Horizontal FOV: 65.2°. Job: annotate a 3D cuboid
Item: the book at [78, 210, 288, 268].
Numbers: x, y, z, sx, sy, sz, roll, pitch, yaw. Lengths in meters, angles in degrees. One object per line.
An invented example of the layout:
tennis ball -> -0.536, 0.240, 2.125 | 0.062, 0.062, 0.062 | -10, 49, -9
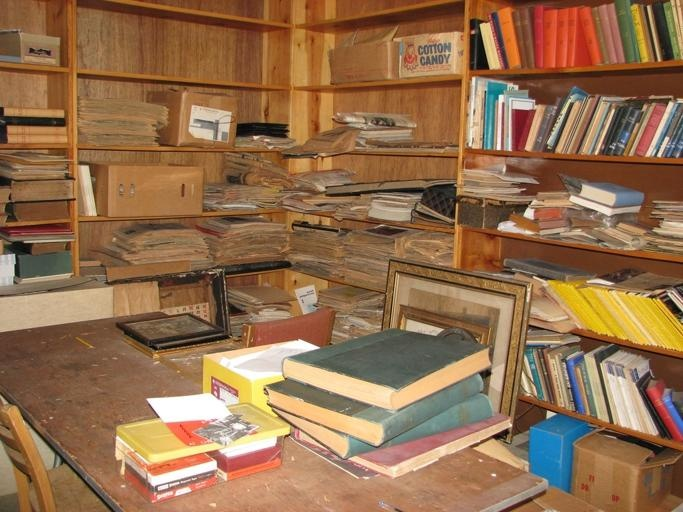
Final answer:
book -> -1.088, -0.092, 3.760 | 1.211, 0.332, 0.579 | -11, 17, -40

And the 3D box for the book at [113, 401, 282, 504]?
book -> -0.383, 0.461, 1.371 | 0.358, 0.137, 0.302 | -8, 15, -30

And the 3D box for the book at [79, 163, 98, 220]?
book -> -1.550, -0.392, 3.245 | 0.082, 0.311, 0.117 | -5, 18, -8

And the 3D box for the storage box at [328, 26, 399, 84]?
storage box -> 0.154, -1.285, 3.464 | 0.249, 0.332, 0.559 | -11, 16, -28

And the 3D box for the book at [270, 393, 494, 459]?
book -> 0.094, 0.400, 1.269 | 0.353, 0.045, 0.348 | 2, 3, 43

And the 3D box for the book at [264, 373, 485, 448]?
book -> 0.077, 0.365, 1.263 | 0.302, 0.039, 0.293 | 8, 12, 41

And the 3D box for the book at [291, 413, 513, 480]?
book -> 0.220, 0.453, 1.306 | 0.303, 0.026, 0.225 | -5, 8, -42

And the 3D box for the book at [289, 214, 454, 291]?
book -> 0.132, -0.022, 3.521 | 1.524, 0.339, 0.575 | 8, 12, 42

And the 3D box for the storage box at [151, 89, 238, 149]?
storage box -> -0.965, -0.899, 3.696 | 0.630, 0.285, 0.546 | -2, 10, -30
